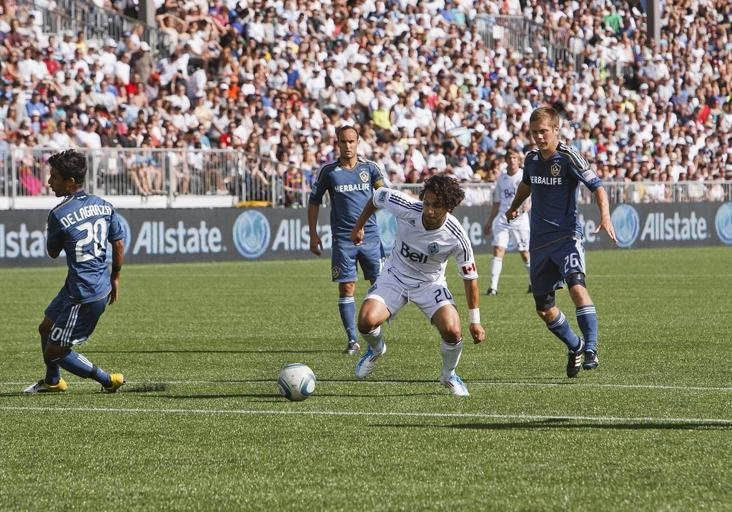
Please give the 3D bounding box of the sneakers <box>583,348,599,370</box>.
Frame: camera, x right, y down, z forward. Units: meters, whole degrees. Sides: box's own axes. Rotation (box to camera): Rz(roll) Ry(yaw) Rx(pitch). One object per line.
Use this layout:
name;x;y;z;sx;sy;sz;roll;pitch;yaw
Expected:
sneakers;2.671;1.241;16.581;0.168;0.272;0.342;0;4;9

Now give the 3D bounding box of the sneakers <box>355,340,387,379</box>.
sneakers;0.037;1.207;16.712;0.191;0.239;0.553;12;46;46

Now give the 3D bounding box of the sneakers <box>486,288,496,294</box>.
sneakers;2.081;0.575;22.997;0.086;0.078;0.119;2;-30;16

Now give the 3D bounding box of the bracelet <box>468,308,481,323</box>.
bracelet;1.253;0.692;16.062;0.161;0.180;0.164;-7;-7;8

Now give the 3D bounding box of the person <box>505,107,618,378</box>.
person;2.400;-0.184;17.047;0.729;3.249;1.488;-3;5;-39

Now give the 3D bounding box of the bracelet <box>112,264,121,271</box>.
bracelet;-2.920;0.134;16.291;0.072;0.061;0.075;2;5;6

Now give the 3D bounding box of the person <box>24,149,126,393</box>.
person;-3.265;0.189;16.060;0.918;2.814;0.392;-1;4;-13

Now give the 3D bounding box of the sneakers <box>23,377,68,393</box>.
sneakers;-3.737;1.528;16.352;0.496;0.201;0.183;2;1;-4

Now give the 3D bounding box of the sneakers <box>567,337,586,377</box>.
sneakers;2.486;1.250;16.753;0.223;0.533;0.172;23;-17;-40
